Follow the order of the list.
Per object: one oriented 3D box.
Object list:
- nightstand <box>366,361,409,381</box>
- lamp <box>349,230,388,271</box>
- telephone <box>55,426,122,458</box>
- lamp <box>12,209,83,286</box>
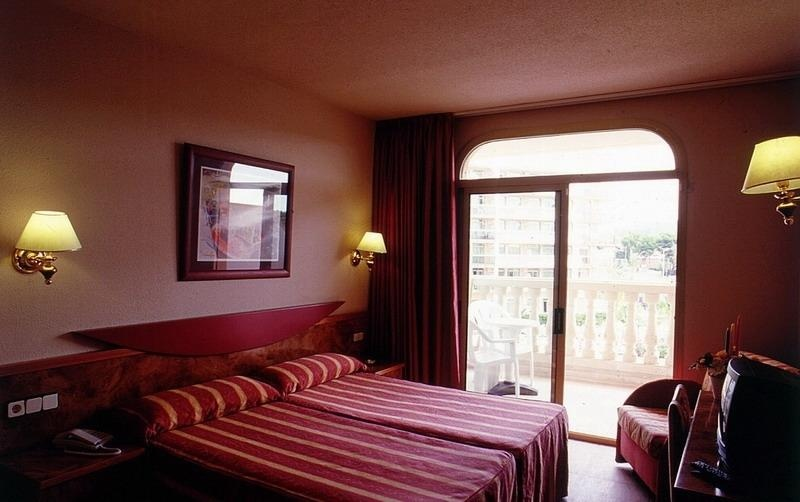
[{"bbox_3d":[-0.128,1.272,5.759,0.221,0.286,0.319,4,4,40],"label":"nightstand"},{"bbox_3d":[-0.349,-0.011,6.019,0.392,0.449,0.431,6,-6,-44],"label":"lamp"},{"bbox_3d":[-2.235,1.396,3.912,0.387,0.087,0.208,7,0,14],"label":"telephone"},{"bbox_3d":[-2.595,-0.008,4.001,0.464,0.513,0.397,5,5,30],"label":"lamp"}]
